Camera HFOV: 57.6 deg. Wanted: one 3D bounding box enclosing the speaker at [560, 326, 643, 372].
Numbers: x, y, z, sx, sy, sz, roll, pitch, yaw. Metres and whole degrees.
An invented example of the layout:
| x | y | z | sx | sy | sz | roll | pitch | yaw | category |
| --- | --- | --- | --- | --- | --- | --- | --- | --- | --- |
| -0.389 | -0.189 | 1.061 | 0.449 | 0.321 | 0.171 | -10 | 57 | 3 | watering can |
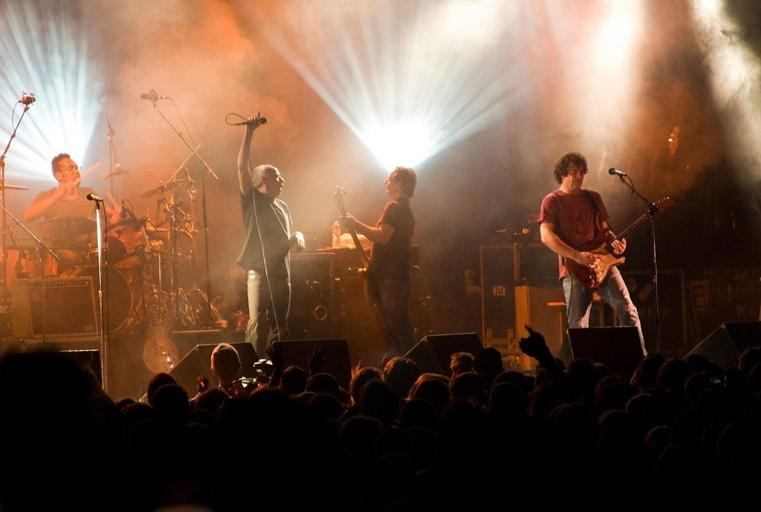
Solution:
| x | y | z | sx | sy | sz | roll | pitch | yaw | category |
| --- | --- | --- | --- | --- | --- | --- | --- | --- | --- |
| 2.212 | 0.835 | 6.970 | 0.560 | 0.415 | 0.542 | -1 | -2 | -9 | speaker |

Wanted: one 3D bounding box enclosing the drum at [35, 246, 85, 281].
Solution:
| x | y | z | sx | sy | sz | roll | pitch | yaw | category |
| --- | --- | --- | --- | --- | --- | --- | --- | --- | --- |
| -4.257 | 0.087 | 9.249 | 0.499 | 0.258 | 0.501 | 7 | -1 | 0 | drum |

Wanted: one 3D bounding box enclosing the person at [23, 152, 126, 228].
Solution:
| x | y | z | sx | sy | sz | roll | pitch | yaw | category |
| --- | --- | --- | --- | --- | --- | --- | --- | --- | --- |
| -4.639 | -0.835 | 10.454 | 1.055 | 1.563 | 1.157 | -8 | 2 | 45 | person |

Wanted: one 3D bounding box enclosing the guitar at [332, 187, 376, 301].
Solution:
| x | y | z | sx | sy | sz | roll | pitch | yaw | category |
| --- | --- | --- | --- | --- | --- | --- | --- | --- | --- |
| -0.285 | -0.077 | 8.165 | 0.438 | 0.118 | 1.145 | -4 | -33 | -2 | guitar |

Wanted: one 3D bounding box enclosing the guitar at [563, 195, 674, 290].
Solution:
| x | y | z | sx | sy | sz | roll | pitch | yaw | category |
| --- | --- | --- | --- | --- | --- | --- | --- | --- | --- |
| 2.920 | -0.143 | 8.614 | 1.503 | 0.576 | 0.195 | -29 | -38 | -13 | guitar |

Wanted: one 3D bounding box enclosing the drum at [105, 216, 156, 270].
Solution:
| x | y | z | sx | sy | sz | roll | pitch | yaw | category |
| --- | --- | --- | --- | --- | --- | --- | --- | --- | --- |
| -3.543 | -0.200 | 9.900 | 0.629 | 0.646 | 1.151 | -8 | 16 | -17 | drum |

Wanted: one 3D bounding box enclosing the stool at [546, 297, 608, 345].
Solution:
| x | y | z | sx | sy | sz | roll | pitch | yaw | category |
| --- | --- | --- | --- | --- | --- | --- | --- | --- | --- |
| 2.554 | 0.851 | 9.011 | 0.747 | 0.749 | 0.744 | -1 | -8 | -3 | stool |

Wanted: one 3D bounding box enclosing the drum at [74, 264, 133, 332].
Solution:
| x | y | z | sx | sy | sz | roll | pitch | yaw | category |
| --- | --- | --- | --- | --- | --- | --- | --- | --- | --- |
| -3.539 | 0.558 | 9.027 | 0.530 | 0.866 | 0.373 | 4 | 16 | 25 | drum |
